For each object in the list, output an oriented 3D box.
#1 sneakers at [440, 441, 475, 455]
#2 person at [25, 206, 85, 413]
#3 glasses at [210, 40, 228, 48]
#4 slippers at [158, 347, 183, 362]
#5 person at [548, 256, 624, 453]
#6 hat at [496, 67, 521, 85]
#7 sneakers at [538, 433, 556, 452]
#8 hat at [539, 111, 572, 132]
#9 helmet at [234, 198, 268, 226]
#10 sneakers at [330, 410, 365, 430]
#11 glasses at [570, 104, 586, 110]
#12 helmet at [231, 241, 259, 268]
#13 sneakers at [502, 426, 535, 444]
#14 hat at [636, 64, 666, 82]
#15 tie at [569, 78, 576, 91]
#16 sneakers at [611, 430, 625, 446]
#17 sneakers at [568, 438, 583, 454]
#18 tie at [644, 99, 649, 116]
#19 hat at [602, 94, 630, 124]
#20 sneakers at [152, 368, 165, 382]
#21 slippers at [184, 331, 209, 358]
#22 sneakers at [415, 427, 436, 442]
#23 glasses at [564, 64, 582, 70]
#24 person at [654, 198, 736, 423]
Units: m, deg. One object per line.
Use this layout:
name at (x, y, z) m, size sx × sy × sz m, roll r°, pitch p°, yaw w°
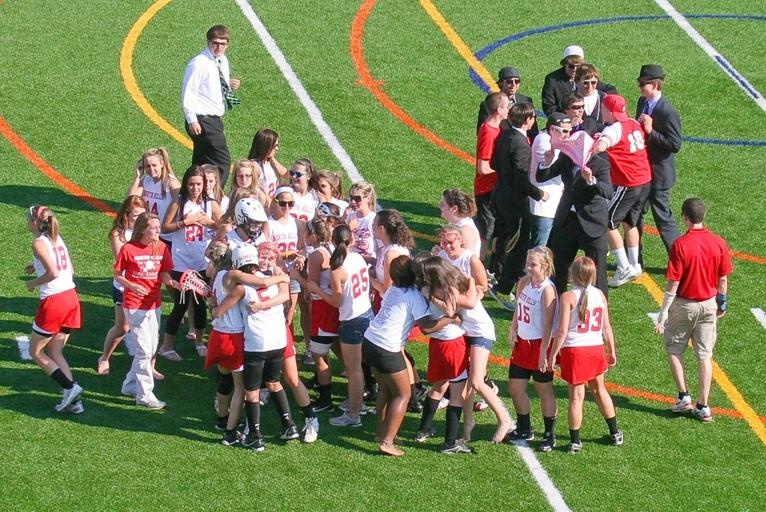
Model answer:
sneakers at (0.955, 2.487, 12.670) m, size 0.447 × 0.194 × 0.162 m, roll -1°, pitch 4°, yaw -14°
person at (-4.388, 0.688, 13.042) m, size 0.670 × 2.633 × 1.111 m, roll -2°, pitch 12°, yaw -21°
glasses at (-2.651, -3.464, 16.030) m, size 0.267 × 0.146 × 0.140 m, roll -9°, pitch 16°, yaw -42°
slippers at (-3.045, 1.423, 14.012) m, size 0.286 × 0.092 × 0.155 m, roll 23°, pitch 33°, yaw 25°
person at (2.591, 1.295, 12.554) m, size 1.051 × 2.524 × 0.346 m, roll -2°, pitch 12°, yaw -19°
hat at (2.072, -2.953, 16.005) m, size 0.242 × 0.212 × 0.334 m, roll 3°, pitch 23°, yaw 1°
sneakers at (2.144, 2.433, 12.683) m, size 0.119 × 0.164 × 0.337 m, roll 0°, pitch 2°, yaw 13°
hat at (2.655, -2.055, 14.869) m, size 0.423 × 0.398 × 0.334 m, roll -5°, pitch 5°, yaw 43°
helmet at (-1.790, -0.596, 12.980) m, size 0.386 × 0.373 × 0.302 m, roll -7°, pitch 14°, yaw 18°
sneakers at (-0.486, 2.195, 12.978) m, size 0.493 × 0.229 × 0.182 m, roll 3°, pitch -1°, yaw 4°
glasses at (3.065, -2.313, 15.229) m, size 0.126 × 0.124 × 0.261 m, roll 12°, pitch 15°, yaw 40°
helmet at (-1.740, -0.006, 12.344) m, size 0.252 × 0.315 × 0.329 m, roll -3°, pitch 4°, yaw -12°
sneakers at (1.772, 2.371, 12.811) m, size 0.431 × 0.188 × 0.162 m, roll 2°, pitch 3°, yaw -6°
hat at (4.403, -2.929, 15.718) m, size 0.474 × 0.186 × 0.383 m, roll -6°, pitch 8°, yaw -39°
tie at (3.308, -2.959, 16.959) m, size 0.073 × 0.223 × 0.091 m, roll -1°, pitch -12°, yaw 1°
sneakers at (3.093, 2.406, 12.824) m, size 0.098 × 0.117 × 0.256 m, roll -7°, pitch 23°, yaw 16°
sneakers at (2.502, 2.482, 12.698) m, size 0.186 × 0.164 × 0.350 m, roll 0°, pitch -2°, yaw 9°
tie at (4.258, -2.377, 15.775) m, size 0.054 × 0.238 × 0.063 m, roll 7°, pitch -27°, yaw 1°
hat at (3.540, -2.253, 14.919) m, size 0.356 × 0.396 × 0.377 m, roll 7°, pitch 12°, yaw 22°
sneakers at (-3.172, 1.675, 13.623) m, size 0.225 × 0.152 × 0.087 m, roll 34°, pitch 50°, yaw -8°
slippers at (-2.715, 1.247, 14.243) m, size 0.206 × 0.144 × 0.579 m, roll -20°, pitch 51°, yaw -17°
sneakers at (0.570, 2.338, 12.793) m, size 0.110 × 0.127 × 0.318 m, roll 9°, pitch 21°, yaw 38°
glasses at (3.275, -3.239, 16.756) m, size 0.186 × 0.065 × 0.198 m, roll 1°, pitch 8°, yaw 5°
person at (4.257, 0.713, 13.433) m, size 0.879 × 2.943 × 0.750 m, roll 6°, pitch 12°, yaw 19°
